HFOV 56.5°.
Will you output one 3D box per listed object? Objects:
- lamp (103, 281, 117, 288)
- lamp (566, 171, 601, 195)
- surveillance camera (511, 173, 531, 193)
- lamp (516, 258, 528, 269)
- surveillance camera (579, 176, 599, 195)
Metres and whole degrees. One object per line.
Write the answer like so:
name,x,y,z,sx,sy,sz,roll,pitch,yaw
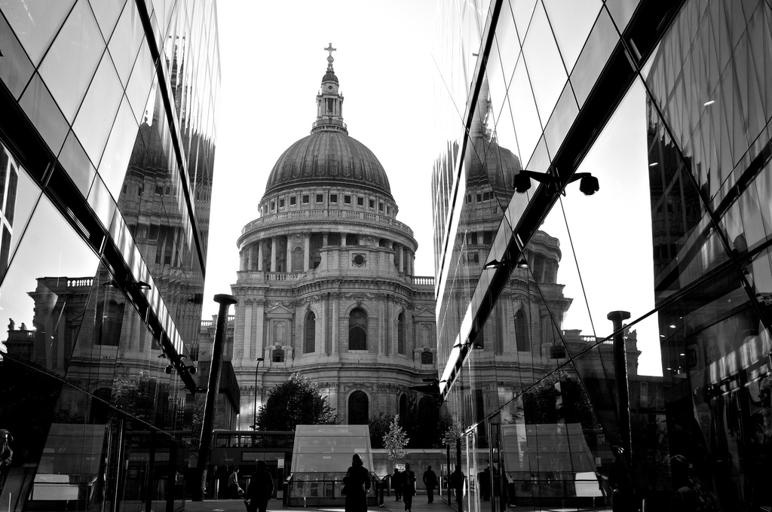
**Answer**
lamp,-4.558,0.475,11.931,0.035,0.130,0.138,-16,-13,31
lamp,2.331,-0.846,8.343,0.263,0.247,0.161,-15,-13,21
surveillance camera,1.972,-1.059,10.428,0.289,0.429,0.149,2,-2,14
lamp,2.189,0.122,11.520,0.129,0.059,0.175,-7,-12,-10
surveillance camera,2.333,-0.806,8.256,0.181,0.204,0.200,9,-22,-10
